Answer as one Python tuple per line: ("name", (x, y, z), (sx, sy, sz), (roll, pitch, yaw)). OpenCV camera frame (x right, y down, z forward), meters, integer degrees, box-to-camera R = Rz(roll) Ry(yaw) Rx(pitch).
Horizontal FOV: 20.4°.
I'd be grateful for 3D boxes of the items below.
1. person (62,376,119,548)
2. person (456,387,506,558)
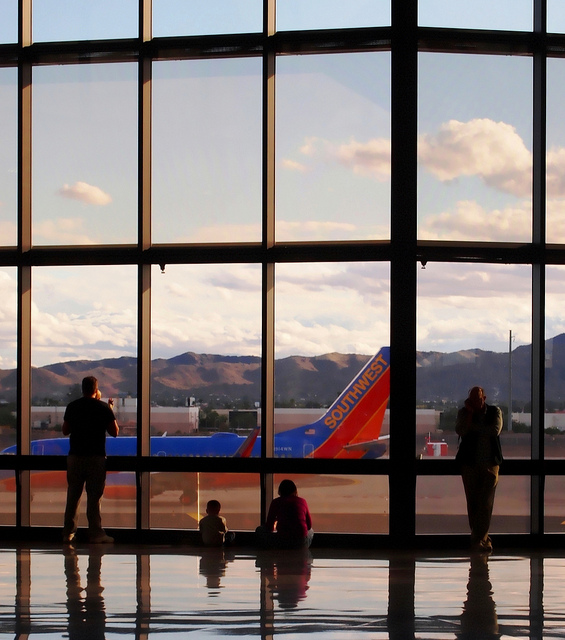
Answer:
("person", (-1.592, 1.178, 13.032), (0.455, 1.307, 0.510), (-1, 12, -6))
("person", (1.594, 1.224, 12.816), (0.364, 1.258, 0.428), (2, 12, 6))
